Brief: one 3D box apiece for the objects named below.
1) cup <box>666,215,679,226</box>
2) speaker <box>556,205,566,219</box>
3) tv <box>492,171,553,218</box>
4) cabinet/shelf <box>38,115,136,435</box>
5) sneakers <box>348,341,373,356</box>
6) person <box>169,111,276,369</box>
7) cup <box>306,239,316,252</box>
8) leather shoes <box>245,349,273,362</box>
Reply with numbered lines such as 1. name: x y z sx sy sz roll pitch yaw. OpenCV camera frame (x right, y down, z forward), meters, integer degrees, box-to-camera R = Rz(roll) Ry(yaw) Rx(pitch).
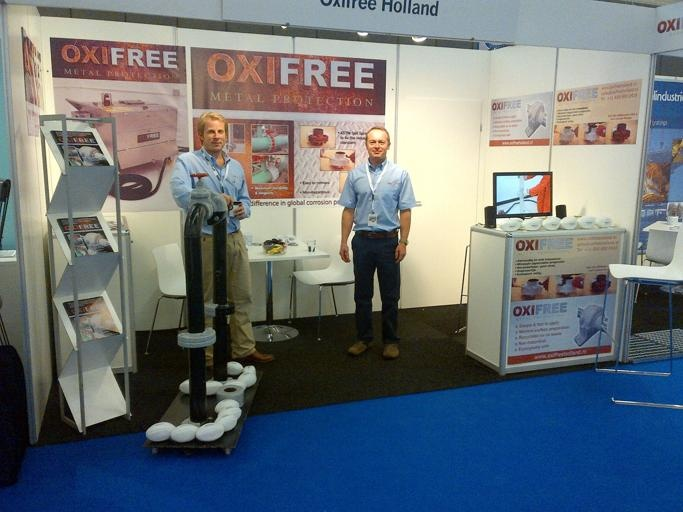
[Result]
1. cup: 3.643 -0.391 6.123 0.131 0.109 0.112 0 3 37
2. speaker: 2.061 -0.414 5.217 0.121 0.161 0.131 5 5 27
3. tv: 1.659 -0.558 5.128 0.648 0.426 0.124 -9 15 -22
4. cabinet/shelf: -1.842 0.077 4.050 0.650 2.123 1.012 -10 15 -27
5. sneakers: 0.163 0.850 5.171 0.089 0.094 0.233 -3 -7 29
6. person: -0.999 -0.085 4.656 0.641 2.136 0.763 -1 14 8
7. cup: -0.286 -0.090 5.405 0.098 0.115 0.098 -1 2 0
8. leather shoes: -0.710 0.880 4.984 0.272 0.120 0.096 -1 2 -20
